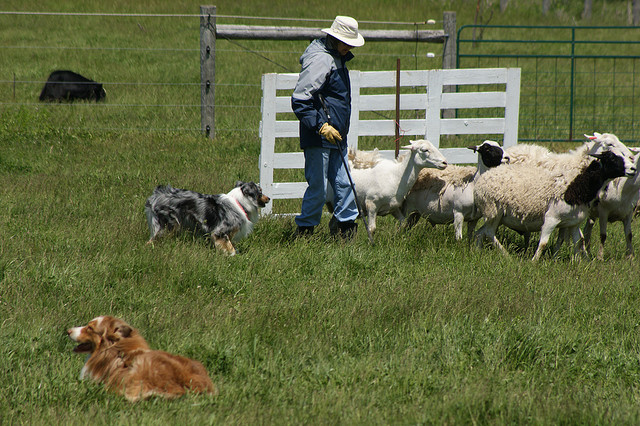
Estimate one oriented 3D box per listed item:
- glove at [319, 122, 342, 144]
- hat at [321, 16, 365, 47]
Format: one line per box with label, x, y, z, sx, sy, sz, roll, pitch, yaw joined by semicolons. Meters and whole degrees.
glove;0.201;-1.522;19.977;0.393;0.305;0.193;40;-10;-18
hat;0.482;-3.420;20.002;0.606;0.291;0.580;32;22;7
